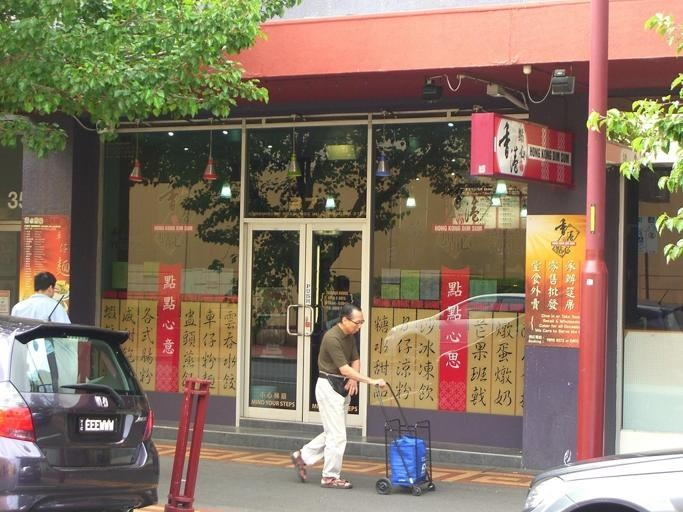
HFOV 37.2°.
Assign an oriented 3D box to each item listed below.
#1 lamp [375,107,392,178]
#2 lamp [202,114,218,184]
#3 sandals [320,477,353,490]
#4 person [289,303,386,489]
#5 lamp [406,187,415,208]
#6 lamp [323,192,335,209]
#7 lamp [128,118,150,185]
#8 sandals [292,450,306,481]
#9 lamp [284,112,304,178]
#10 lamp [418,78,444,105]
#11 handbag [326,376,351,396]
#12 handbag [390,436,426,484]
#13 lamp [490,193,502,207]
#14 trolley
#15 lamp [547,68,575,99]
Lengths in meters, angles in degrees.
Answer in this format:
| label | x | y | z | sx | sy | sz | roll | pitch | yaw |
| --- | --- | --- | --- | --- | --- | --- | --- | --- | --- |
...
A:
| label | x | y | z | sx | sy | sz | roll | pitch | yaw |
| --- | --- | --- | --- | --- | --- | --- | --- | --- | --- |
| lamp | 0.571 | -1.536 | 14.000 | 0.228 | 0.913 | 0.339 | 1 | 14 | -1 |
| lamp | -1.920 | -1.482 | 14.782 | 0.185 | 0.777 | 0.237 | -3 | 14 | -19 |
| sandals | -0.058 | 2.625 | 11.899 | 0.353 | 0.170 | 0.146 | 0 | -2 | 7 |
| person | -0.061 | 1.691 | 12.086 | 0.836 | 2.206 | 0.791 | 9 | 16 | 28 |
| lamp | 0.940 | -0.793 | 13.789 | 0.159 | 0.369 | 0.174 | 0 | -1 | -5 |
| lamp | -0.158 | -0.783 | 14.312 | 0.154 | 0.359 | 0.170 | -1 | 2 | -37 |
| lamp | -3.065 | -1.454 | 15.166 | 0.176 | 0.729 | 0.224 | -9 | 17 | -37 |
| sandals | -0.496 | 2.482 | 12.115 | 0.142 | 0.413 | 0.128 | -9 | 5 | 3 |
| lamp | -0.673 | -1.555 | 14.444 | 0.183 | 0.903 | 0.254 | -4 | 15 | -22 |
| lamp | 1.099 | -2.059 | 12.575 | 0.230 | 0.371 | 0.264 | -3 | 25 | -8 |
| handbag | -0.041 | 1.525 | 12.038 | 0.263 | 0.251 | 0.133 | -3 | 15 | -16 |
| handbag | 0.776 | 2.342 | 11.773 | 0.329 | 0.616 | 0.384 | 1 | 4 | 29 |
| lamp | 2.075 | -0.748 | 13.626 | 0.122 | 0.277 | 0.137 | 3 | -5 | 3 |
| trolley | 0.729 | 2.137 | 11.895 | 0.641 | 1.312 | 0.693 | 0 | -10 | -13 |
| lamp | 2.581 | -2.000 | 11.875 | 0.284 | 0.343 | 0.305 | 0 | -6 | 9 |
